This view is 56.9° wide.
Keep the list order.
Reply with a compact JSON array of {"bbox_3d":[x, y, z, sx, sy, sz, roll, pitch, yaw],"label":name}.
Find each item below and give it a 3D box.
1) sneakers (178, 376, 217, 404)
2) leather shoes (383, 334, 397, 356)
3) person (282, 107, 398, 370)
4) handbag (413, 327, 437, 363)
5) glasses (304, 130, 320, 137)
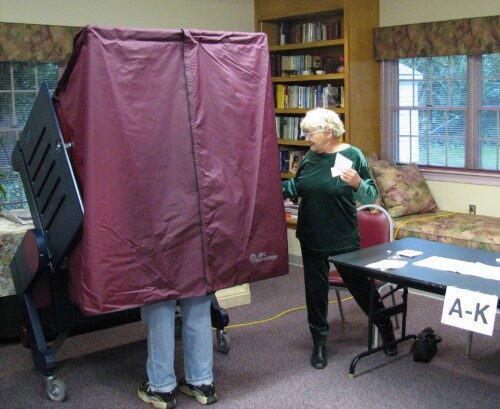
[{"bbox_3d":[-0.319,1.110,2.820,0.244,0.125,0.098,14,13,42],"label":"sneakers"},{"bbox_3d":[0.987,0.989,3.237,0.069,0.093,0.201,-4,12,-3],"label":"leather shoes"},{"bbox_3d":[0.500,0.242,3.044,0.838,1.709,0.606,-1,8,7],"label":"person"},{"bbox_3d":[1.245,0.985,3.246,0.150,0.203,0.257,2,0,38],"label":"handbag"},{"bbox_3d":[0.395,-0.452,2.991,0.049,0.043,0.153,-4,10,-18],"label":"glasses"}]
